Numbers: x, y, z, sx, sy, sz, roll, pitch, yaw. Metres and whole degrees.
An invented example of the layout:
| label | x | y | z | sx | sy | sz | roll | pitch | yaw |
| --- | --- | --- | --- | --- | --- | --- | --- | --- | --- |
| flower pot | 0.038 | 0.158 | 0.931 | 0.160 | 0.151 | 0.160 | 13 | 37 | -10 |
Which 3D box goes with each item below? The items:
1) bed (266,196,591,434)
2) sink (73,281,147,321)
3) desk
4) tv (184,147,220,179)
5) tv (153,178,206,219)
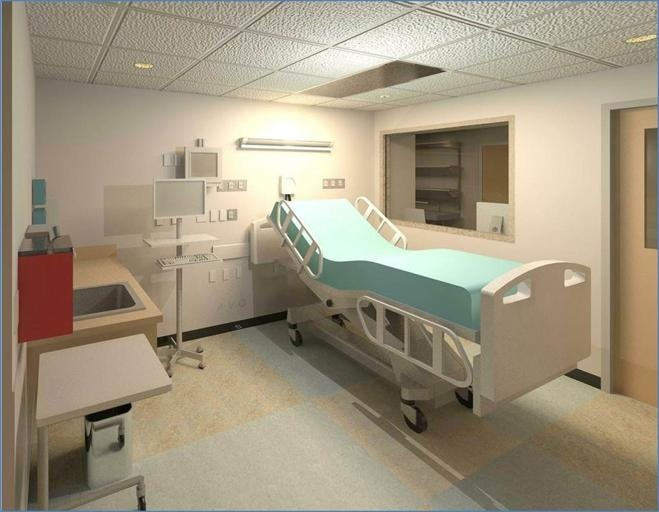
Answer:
| label | x | y | z | sx | sy | sz | roll | pitch | yaw |
| --- | --- | --- | --- | --- | --- | --- | --- | --- | --- |
| bed | 0.770 | 0.293 | 4.785 | 2.049 | 1.705 | 3.653 | -8 | 12 | -35 |
| sink | -1.760 | 0.389 | 3.711 | 0.480 | 0.243 | 0.713 | -6 | 11 | -29 |
| desk | -1.334 | 1.080 | 2.717 | 0.666 | 1.080 | 0.814 | -7 | 12 | -32 |
| tv | -1.383 | -0.999 | 5.004 | 0.400 | 0.335 | 0.048 | -3 | 8 | -40 |
| tv | -1.464 | -0.562 | 4.563 | 0.504 | 0.369 | 0.033 | -7 | 13 | -33 |
